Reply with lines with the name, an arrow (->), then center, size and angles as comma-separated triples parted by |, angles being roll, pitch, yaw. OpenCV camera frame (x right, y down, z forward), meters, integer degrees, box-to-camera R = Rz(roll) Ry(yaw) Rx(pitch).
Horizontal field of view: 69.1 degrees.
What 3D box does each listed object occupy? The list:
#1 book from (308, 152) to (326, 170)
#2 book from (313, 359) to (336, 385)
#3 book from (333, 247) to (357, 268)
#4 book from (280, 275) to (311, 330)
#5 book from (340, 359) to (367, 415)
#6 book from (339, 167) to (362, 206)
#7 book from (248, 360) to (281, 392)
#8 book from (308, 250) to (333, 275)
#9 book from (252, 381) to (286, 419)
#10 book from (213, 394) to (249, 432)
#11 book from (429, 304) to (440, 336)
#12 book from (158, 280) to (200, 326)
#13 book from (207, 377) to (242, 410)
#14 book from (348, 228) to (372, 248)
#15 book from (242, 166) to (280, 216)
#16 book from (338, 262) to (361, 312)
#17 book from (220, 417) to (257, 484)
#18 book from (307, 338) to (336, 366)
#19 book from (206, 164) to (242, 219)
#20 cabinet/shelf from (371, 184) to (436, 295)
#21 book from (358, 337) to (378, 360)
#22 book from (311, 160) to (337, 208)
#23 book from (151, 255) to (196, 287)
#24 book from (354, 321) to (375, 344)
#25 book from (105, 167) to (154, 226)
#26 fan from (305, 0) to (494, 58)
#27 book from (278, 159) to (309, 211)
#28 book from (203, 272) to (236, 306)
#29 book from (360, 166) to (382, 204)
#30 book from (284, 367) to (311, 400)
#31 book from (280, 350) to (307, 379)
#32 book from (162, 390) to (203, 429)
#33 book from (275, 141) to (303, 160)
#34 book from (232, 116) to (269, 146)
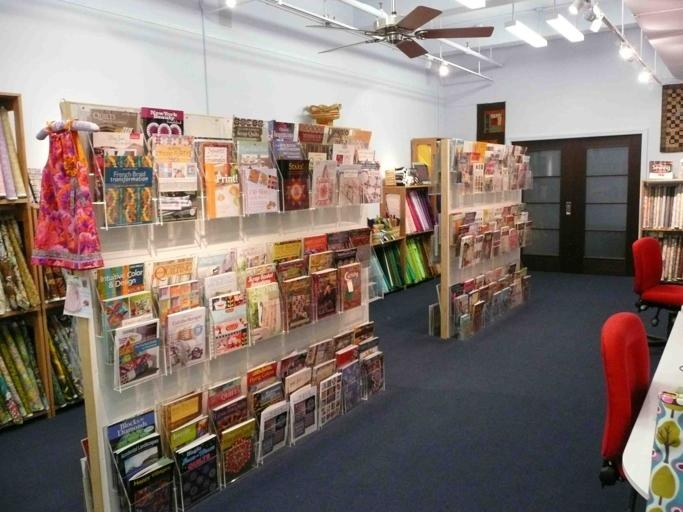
book -> -0.200, -0.771, 3.897 | 0.139, 0.145, 0.034 | -1, -24, -10
book -> -0.153, 0.935, 4.034 | 0.031, 0.147, 0.184 | 6, 18, 41
book -> 0.018, 0.005, 4.147 | 0.044, 0.149, 0.195 | 10, 14, 43
book -> -0.365, 0.334, 3.777 | 0.061, 0.515, 0.362 | 3, 6, 38
book -> 0.084, 1.116, 4.283 | 0.074, 0.499, 0.412 | 2, 7, 29
book -> 0.063, -0.589, 4.106 | 0.049, 0.341, 0.276 | 7, 10, 42
book -> -0.588, 0.887, 3.673 | 0.038, 0.159, 0.226 | 6, 12, 39
book -> -0.186, 0.045, 3.951 | 0.028, 0.129, 0.167 | 6, 12, 41
book -> -0.553, 1.057, 3.657 | 0.037, 0.207, 0.265 | 2, 13, 37
book -> -0.783, 1.087, 3.445 | 0.043, 0.194, 0.247 | -1, 12, 41
book -> 1.108, 0.743, 5.988 | 0.135, 0.402, 0.129 | 0, 11, 10
book -> -1.052, 0.298, 3.159 | 0.033, 0.261, 0.260 | 4, 9, 38
book -> -0.828, 0.954, 3.451 | 0.030, 0.136, 0.221 | 4, 10, 35
book -> 0.150, -0.177, 4.334 | 0.136, 0.159, 0.219 | 2, 9, 35
book -> -0.586, -0.476, 3.506 | 0.042, 0.332, 0.316 | 3, 8, 39
book -> 0.053, 0.240, 4.175 | 0.072, 0.459, 0.374 | 3, 5, 34
book -> -0.734, 1.342, 3.453 | 0.059, 0.443, 0.358 | 7, 19, 34
book -> -0.180, 0.783, 4.054 | 0.034, 0.163, 0.205 | 6, 13, 38
book -> -0.805, -0.444, 3.324 | 0.047, 0.457, 0.325 | 1, 5, 35
cabinet/shelf -> 0.961, -0.280, 7.996 | 0.480, 1.547, 1.566 | 1, 9, 30
book -> 0.233, 0.811, 4.455 | 0.043, 0.169, 0.165 | 15, 4, 42
book -> -0.152, -0.588, 3.921 | 0.032, 0.473, 0.321 | 5, 9, 33
book -> -1.090, 0.090, 3.172 | 0.025, 0.140, 0.181 | 9, 12, 42
book -> 0.193, 0.682, 4.459 | 0.023, 0.115, 0.183 | 3, 9, 37
book -> -1.270, -0.360, 2.930 | 0.280, 0.382, 0.031 | -11, 17, -38
fan -> 0.650, -3.030, 6.536 | 1.549, 0.632, 1.623 | 10, 19, 34
book -> -0.373, -0.546, 3.704 | 0.105, 0.350, 0.329 | 1, 9, 28
book -> -0.838, 0.218, 3.346 | 0.027, 0.161, 0.204 | 5, 10, 38
book -> 0.240, -0.625, 4.292 | 0.156, 0.310, 0.298 | 1, 4, 27
book -> -0.355, 0.980, 3.841 | 0.046, 0.163, 0.246 | 1, 10, 37
book -> -0.387, 0.837, 3.851 | 0.040, 0.136, 0.209 | 2, 10, 34
book -> -1.057, 1.006, 3.255 | 0.033, 0.180, 0.238 | 4, 14, 37
book -> -0.408, -0.795, 3.692 | 0.046, 0.135, 0.146 | 1, 7, 38
book -> -0.655, -0.896, 3.541 | 0.187, 0.187, 0.259 | 2, 8, 34
